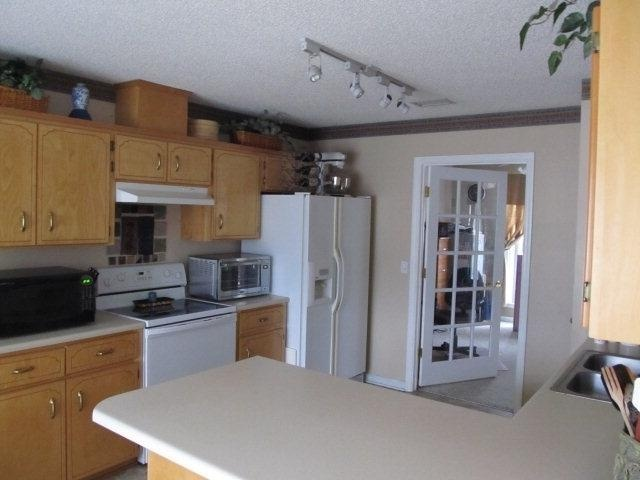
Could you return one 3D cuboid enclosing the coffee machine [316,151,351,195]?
[{"bbox_3d":[0.140,-0.630,4.710,0.298,0.442,0.282,5,7,37],"label":"coffee machine"}]

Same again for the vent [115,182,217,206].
[{"bbox_3d":[-1.132,-0.341,3.711,0.200,0.160,0.796,4,6,31],"label":"vent"}]

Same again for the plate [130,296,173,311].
[{"bbox_3d":[-1.287,0.493,3.791,0.113,0.038,0.176,9,9,39],"label":"plate"}]

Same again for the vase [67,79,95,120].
[{"bbox_3d":[-1.625,-0.936,3.345,0.157,0.247,0.144,6,9,-2],"label":"vase"}]

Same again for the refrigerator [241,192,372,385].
[{"bbox_3d":[-0.120,0.351,4.693,0.952,1.748,1.148,1,4,4],"label":"refrigerator"}]

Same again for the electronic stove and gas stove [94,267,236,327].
[{"bbox_3d":[-1.201,0.381,3.738,0.851,0.335,0.799,4,3,43],"label":"electronic stove and gas stove"}]

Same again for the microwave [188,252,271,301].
[{"bbox_3d":[-0.818,0.289,4.337,0.475,0.399,0.596,7,5,41],"label":"microwave"}]

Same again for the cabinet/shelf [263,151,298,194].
[{"bbox_3d":[-0.370,-0.641,4.828,0.273,0.457,0.484,9,7,0],"label":"cabinet/shelf"}]

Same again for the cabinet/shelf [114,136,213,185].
[{"bbox_3d":[-1.234,-0.536,3.724,0.383,0.363,0.840,2,1,40],"label":"cabinet/shelf"}]

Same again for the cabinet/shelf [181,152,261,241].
[{"bbox_3d":[-0.842,-0.393,4.317,0.496,0.813,0.640,7,7,41],"label":"cabinet/shelf"}]
